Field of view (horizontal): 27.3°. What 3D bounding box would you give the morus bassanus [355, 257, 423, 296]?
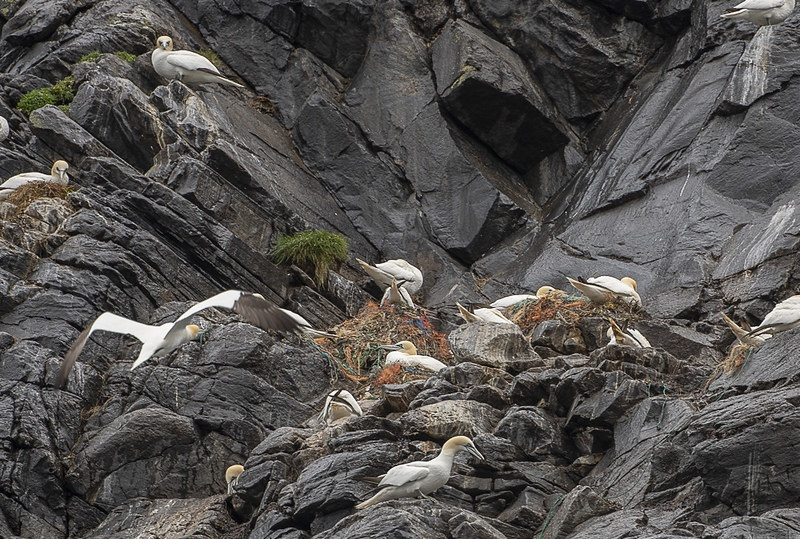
[{"bbox_3d":[-0.208,0.075,39.953,0.721,1.402,0.802,-61,-4,-8],"label":"morus bassanus"}]
